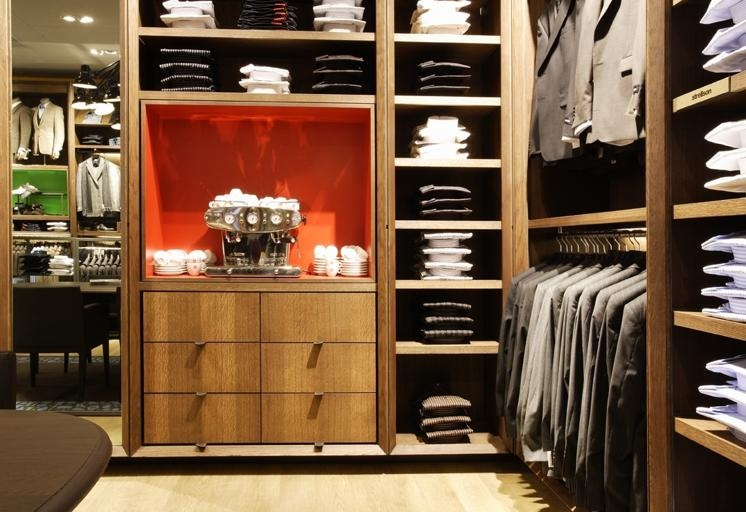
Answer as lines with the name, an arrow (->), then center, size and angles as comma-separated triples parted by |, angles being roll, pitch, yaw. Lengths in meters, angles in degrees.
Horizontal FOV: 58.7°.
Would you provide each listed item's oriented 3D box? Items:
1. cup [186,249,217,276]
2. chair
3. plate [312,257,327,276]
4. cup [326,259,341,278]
cup -> -1.117, 0.041, 4.296 | 0.185, 0.129, 0.124 | 1, -1, -24
chair -> -2.008, 0.511, 4.249 | 0.598, 0.814, 0.579 | 0, 1, -2
plate -> -0.358, 0.078, 4.391 | 0.105, 0.099, 0.104 | 0, 2, -14
cup -> -0.259, 0.078, 4.319 | 0.112, 0.106, 0.082 | 2, -3, -8
